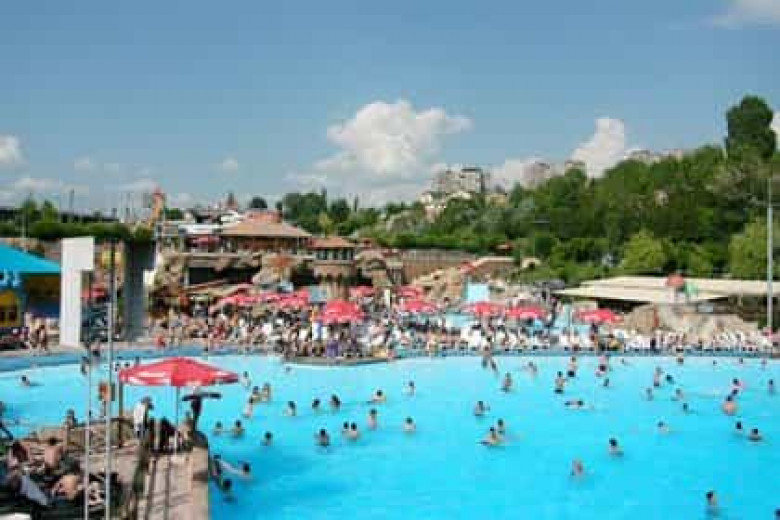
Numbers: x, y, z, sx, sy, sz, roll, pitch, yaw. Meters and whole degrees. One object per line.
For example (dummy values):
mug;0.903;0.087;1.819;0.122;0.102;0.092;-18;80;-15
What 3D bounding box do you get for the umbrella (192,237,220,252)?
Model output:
umbrella;-16.716;-1.526;73.620;1.720;0.769;2.151;2;1;17
